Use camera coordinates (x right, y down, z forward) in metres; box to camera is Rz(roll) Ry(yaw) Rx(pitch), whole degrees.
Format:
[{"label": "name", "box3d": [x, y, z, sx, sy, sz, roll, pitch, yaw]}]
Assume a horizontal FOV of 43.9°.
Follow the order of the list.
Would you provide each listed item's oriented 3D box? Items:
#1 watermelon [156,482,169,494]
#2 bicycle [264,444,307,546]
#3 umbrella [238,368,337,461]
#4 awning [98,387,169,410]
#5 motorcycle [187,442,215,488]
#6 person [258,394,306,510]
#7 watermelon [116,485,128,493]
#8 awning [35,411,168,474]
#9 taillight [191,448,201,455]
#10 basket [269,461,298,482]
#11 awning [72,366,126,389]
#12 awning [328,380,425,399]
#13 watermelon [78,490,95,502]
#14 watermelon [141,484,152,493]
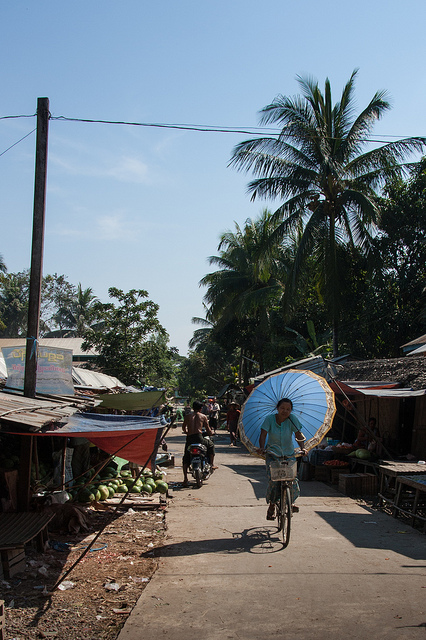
[{"label": "watermelon", "box3d": [-0.891, 2.948, 9.259, 0.164, 0.178, 0.168, 1, -6, -2]}, {"label": "bicycle", "box3d": [0.823, 2.004, 6.126, 0.441, 1.073, 0.797, 0, -8, 4]}, {"label": "umbrella", "box3d": [1.057, 1.210, 7.362, 1.312, 1.301, 0.560, -27, -37, 23]}, {"label": "awning", "box3d": [-1.478, 1.441, 9.456, 1.083, 0.310, 0.597, 2, -9, -9]}, {"label": "motorcycle", "box3d": [-0.258, 2.863, 10.643, 0.377, 0.810, 1.195, 0, -9, 1]}, {"label": "person", "box3d": [0.819, 1.656, 6.580, 0.574, 1.452, 1.497, -2, -2, 0]}, {"label": "watermelon", "box3d": [-1.561, 2.875, 9.020, 0.107, 0.109, 0.124, -6, 20, -10]}, {"label": "awning", "box3d": [-1.070, 1.385, 6.450, 1.246, 0.605, 1.276, 3, -2, 18]}, {"label": "taillight", "box3d": [-0.338, 2.550, 10.287, 0.170, 0.120, 0.073, 1, -8, -7]}, {"label": "basket", "box3d": [0.805, 1.714, 6.007, 0.349, 0.253, 0.207, -1, -15, 2]}, {"label": "awning", "box3d": [-3.396, 1.701, 15.211, 1.094, 0.548, 4.324, 2, -9, -12]}, {"label": "awning", "box3d": [3.086, 1.297, 10.059, 1.305, 0.329, 2.096, 0, -9, 3]}, {"label": "watermelon", "box3d": [-1.902, 2.643, 7.975, 0.245, 0.189, 0.189, 3, -18, 6]}, {"label": "watermelon", "box3d": [-1.146, 2.870, 9.000, 0.194, 0.116, 0.183, 9, -12, -43]}]
